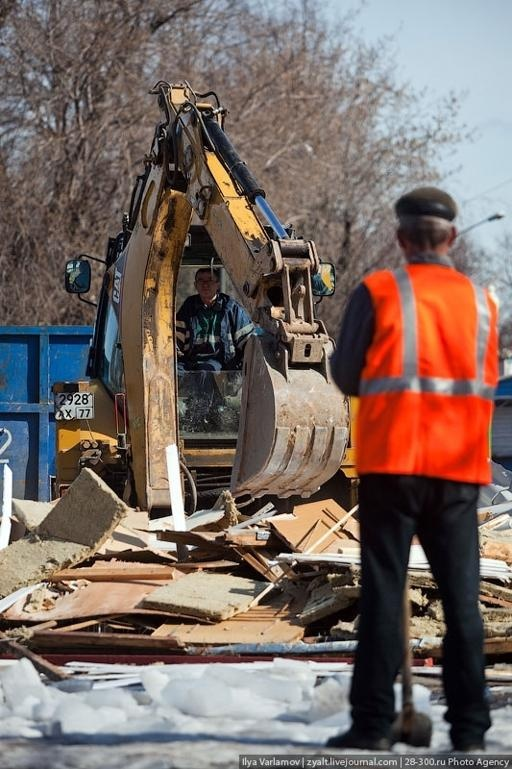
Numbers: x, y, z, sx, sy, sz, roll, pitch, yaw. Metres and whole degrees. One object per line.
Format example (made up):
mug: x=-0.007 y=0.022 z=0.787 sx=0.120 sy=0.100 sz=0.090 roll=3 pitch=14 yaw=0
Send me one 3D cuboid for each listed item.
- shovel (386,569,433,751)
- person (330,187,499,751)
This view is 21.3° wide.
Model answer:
shovel: x=0.542 y=0.969 z=4.713 sx=0.177 sy=0.547 sz=0.112 roll=1 pitch=-4 yaw=-16
person: x=0.575 y=0.253 z=4.813 sx=0.632 sy=1.984 sz=0.406 roll=-1 pitch=-4 yaw=3
